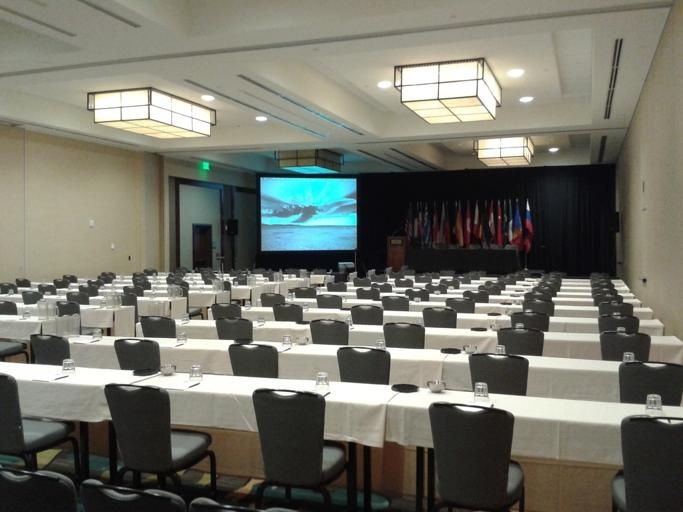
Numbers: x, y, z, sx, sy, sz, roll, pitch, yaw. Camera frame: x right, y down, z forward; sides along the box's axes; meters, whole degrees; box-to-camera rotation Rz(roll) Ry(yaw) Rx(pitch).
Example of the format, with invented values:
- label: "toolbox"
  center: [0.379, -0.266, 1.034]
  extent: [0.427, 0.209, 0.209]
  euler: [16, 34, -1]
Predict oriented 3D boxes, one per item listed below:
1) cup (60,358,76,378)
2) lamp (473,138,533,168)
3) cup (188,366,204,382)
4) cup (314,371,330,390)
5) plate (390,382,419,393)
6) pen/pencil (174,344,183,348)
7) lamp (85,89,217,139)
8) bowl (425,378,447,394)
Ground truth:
- label: "cup"
  center: [-2.266, 0.937, 4.551]
  extent: [0.119, 0.163, 0.120]
  euler: [0, -7, 0]
- label: "lamp"
  center: [5.310, -3.462, 18.105]
  extent: [1.377, 0.873, 1.434]
  euler: [2, 0, 37]
- label: "cup"
  center: [-1.146, 0.931, 4.341]
  extent: [0.116, 0.116, 0.108]
  euler: [0, -6, 0]
- label: "cup"
  center: [-0.138, 0.918, 4.065]
  extent: [0.100, 0.084, 0.162]
  euler: [-2, 0, -3]
- label: "plate"
  center: [0.465, 0.971, 4.039]
  extent: [0.194, 0.031, 0.205]
  euler: [-2, 0, -26]
- label: "pen/pencil"
  center: [-1.720, 0.945, 5.829]
  extent: [0.025, 0.023, 0.157]
  euler: [11, 7, 32]
- label: "lamp"
  center: [-4.681, -3.624, 13.813]
  extent: [1.874, 0.964, 2.606]
  euler: [-1, 1, 42]
- label: "bowl"
  center: [0.695, 0.945, 3.998]
  extent: [0.121, 0.091, 0.138]
  euler: [-2, 1, 6]
